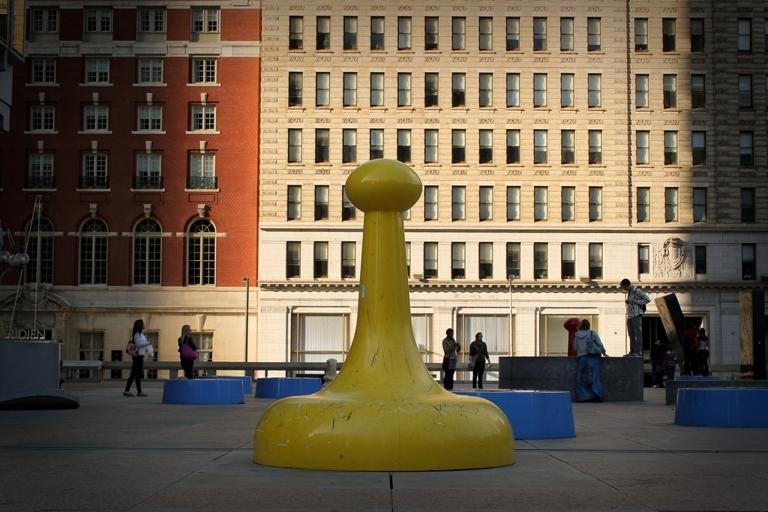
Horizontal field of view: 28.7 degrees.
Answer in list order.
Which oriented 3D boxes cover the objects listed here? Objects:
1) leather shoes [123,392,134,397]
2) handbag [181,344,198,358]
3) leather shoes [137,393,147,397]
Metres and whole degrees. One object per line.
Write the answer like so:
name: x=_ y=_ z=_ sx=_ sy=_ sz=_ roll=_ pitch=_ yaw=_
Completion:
leather shoes: x=-11.719 y=6.335 z=68.483 sx=0.528 sy=0.216 sz=0.272 roll=4 pitch=-7 yaw=22
handbag: x=-8.659 y=4.209 z=66.339 sx=0.290 sy=0.570 sz=0.586 roll=-26 pitch=-27 yaw=30
leather shoes: x=-11.068 y=6.341 z=68.369 sx=0.557 sy=0.225 sz=0.197 roll=0 pitch=-11 yaw=4
